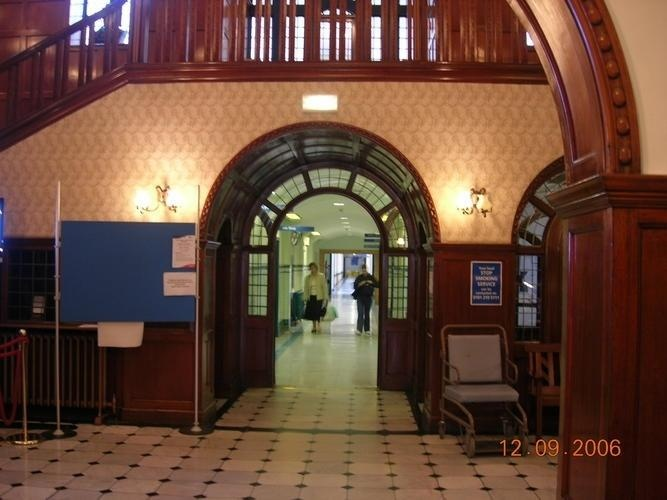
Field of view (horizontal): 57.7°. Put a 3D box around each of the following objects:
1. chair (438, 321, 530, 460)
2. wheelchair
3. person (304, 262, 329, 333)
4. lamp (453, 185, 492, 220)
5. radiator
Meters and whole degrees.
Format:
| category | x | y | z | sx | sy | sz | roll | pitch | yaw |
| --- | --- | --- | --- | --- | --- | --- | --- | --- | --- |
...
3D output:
| category | x | y | z | sx | sy | sz | roll | pitch | yaw |
| --- | --- | --- | --- | --- | --- | --- | --- | --- | --- |
| chair | 1.850 | 1.677 | 7.380 | 1.065 | 1.393 | 1.142 | 1 | 2 | 4 |
| wheelchair | 1.813 | 1.694 | 7.270 | 0.814 | 1.366 | 1.091 | 1 | -2 | -5 |
| person | -0.433 | 1.084 | 14.924 | 0.580 | 1.493 | 0.910 | 1 | 2 | -3 |
| lamp | 1.798 | -0.556 | 7.869 | 0.601 | 0.626 | 0.313 | 0 | -1 | -1 |
| radiator | -3.531 | 1.667 | 7.816 | 1.205 | 1.035 | 0.407 | -1 | -1 | -3 |
